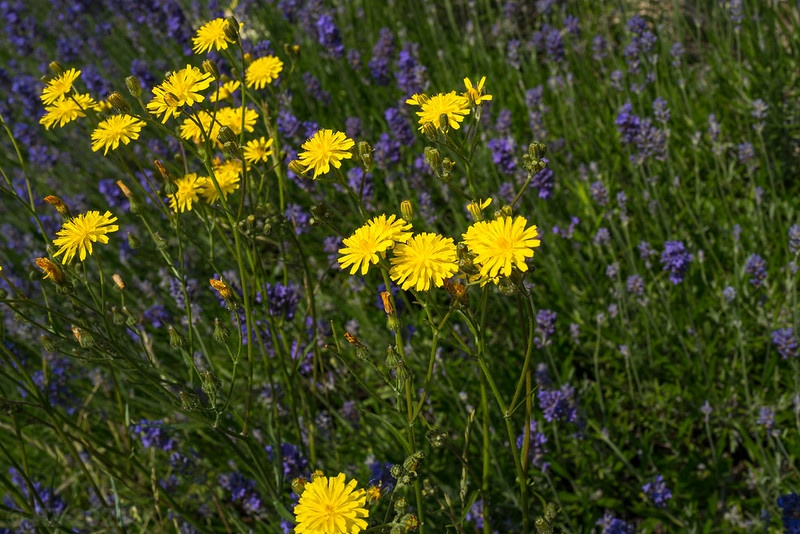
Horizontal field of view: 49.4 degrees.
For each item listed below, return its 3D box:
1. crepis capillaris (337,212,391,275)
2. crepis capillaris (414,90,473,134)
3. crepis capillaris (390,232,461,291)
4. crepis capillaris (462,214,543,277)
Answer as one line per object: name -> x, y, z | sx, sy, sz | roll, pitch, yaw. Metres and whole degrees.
crepis capillaris -> -0.171, -0.088, 3.883 | 0.212, 0.098, 0.260 | -19, 48, 39
crepis capillaris -> 0.209, -0.798, 4.123 | 0.231, 0.157, 0.268 | -1, -1, -9
crepis capillaris -> 0.099, -0.086, 3.859 | 0.257, 0.088, 0.277 | -6, -19, -16
crepis capillaris -> 0.470, -0.092, 3.803 | 0.343, 0.374, 0.137 | -15, 62, 19
